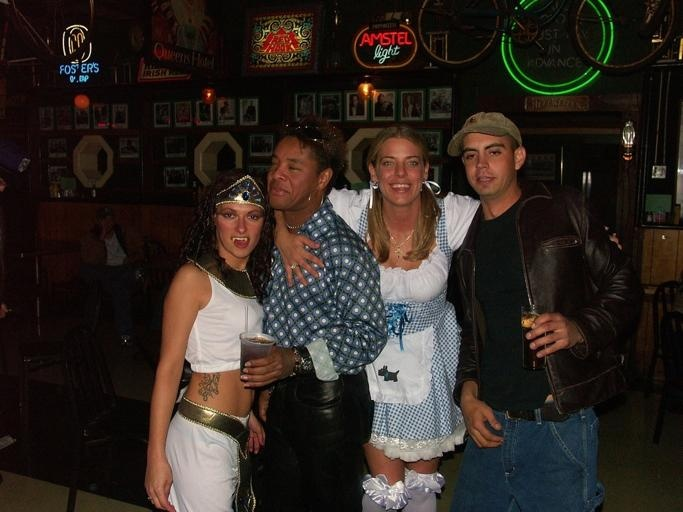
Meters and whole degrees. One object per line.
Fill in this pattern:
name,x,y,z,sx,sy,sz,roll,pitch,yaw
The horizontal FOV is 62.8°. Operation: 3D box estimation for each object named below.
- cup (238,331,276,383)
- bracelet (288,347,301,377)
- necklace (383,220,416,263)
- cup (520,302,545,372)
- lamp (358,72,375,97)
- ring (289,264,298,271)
cup,-0.376,0.461,2.665,0.169,0.178,0.175,20,8,-3
bracelet,-0.218,0.507,2.686,0.041,0.108,0.089,0,-2,-20
necklace,0.319,-0.077,3.064,0.215,0.289,0.023,1,-5,18
cup,0.885,0.395,2.617,0.102,0.313,0.139,2,7,34
lamp,0.298,-2.105,6.914,0.206,0.270,0.300,-1,6,6
ring,-0.249,0.060,2.844,0.028,0.037,0.015,-4,-15,24
